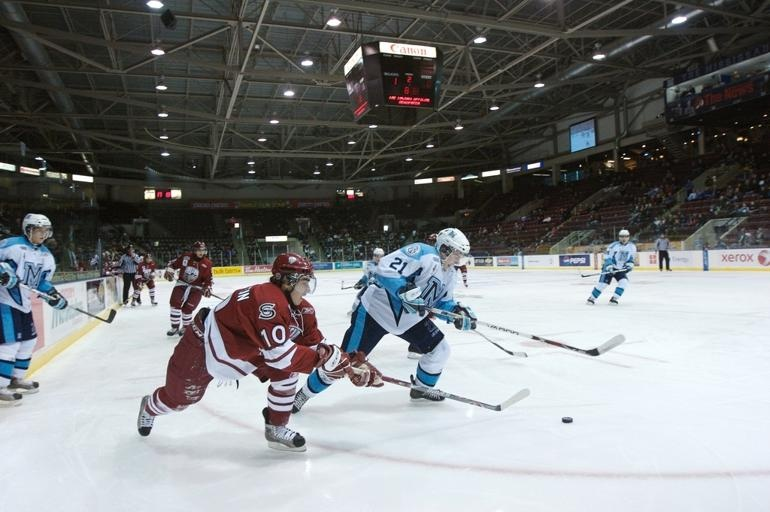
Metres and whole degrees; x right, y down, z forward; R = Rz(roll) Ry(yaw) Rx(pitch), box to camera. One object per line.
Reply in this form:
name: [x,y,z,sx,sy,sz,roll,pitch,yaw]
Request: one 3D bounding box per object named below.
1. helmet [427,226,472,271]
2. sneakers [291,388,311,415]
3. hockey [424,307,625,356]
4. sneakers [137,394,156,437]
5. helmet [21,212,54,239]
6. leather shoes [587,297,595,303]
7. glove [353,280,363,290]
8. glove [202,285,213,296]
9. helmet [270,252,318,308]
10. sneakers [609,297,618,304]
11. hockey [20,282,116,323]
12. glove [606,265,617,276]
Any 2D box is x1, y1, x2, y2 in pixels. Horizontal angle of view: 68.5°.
helmet: [0.818,-0.128,6.947,0.519,0.478,0.391,27,17,-1]
sneakers: [-0.943,1.617,6.497,0.168,0.131,0.353,-22,33,19]
hockey: [2.113,1.146,8.465,3.102,0.219,0.409,7,21,0]
sneakers: [-2.572,1.720,6.040,0.234,0.473,0.180,-7,-8,27]
helmet: [-4.538,-0.387,7.308,0.496,0.376,0.346,-1,1,-15]
leather shoes: [4.235,0.909,11.638,0.146,0.147,0.298,-1,0,20]
glove: [-0.479,0.522,10.091,0.138,0.146,0.409,4,6,-4]
glove: [-3.100,0.636,9.910,0.157,0.176,0.073,0,36,-1]
helmet: [-0.938,0.229,5.774,0.605,0.564,0.475,3,4,1]
sneakers: [4.623,0.905,11.431,0.124,0.144,0.167,2,-3,-38]
hockey: [-4.977,0.736,8.842,0.349,0.191,1.549,-36,-48,29]
glove: [4.788,0.271,11.981,0.227,0.177,0.117,-1,1,23]
